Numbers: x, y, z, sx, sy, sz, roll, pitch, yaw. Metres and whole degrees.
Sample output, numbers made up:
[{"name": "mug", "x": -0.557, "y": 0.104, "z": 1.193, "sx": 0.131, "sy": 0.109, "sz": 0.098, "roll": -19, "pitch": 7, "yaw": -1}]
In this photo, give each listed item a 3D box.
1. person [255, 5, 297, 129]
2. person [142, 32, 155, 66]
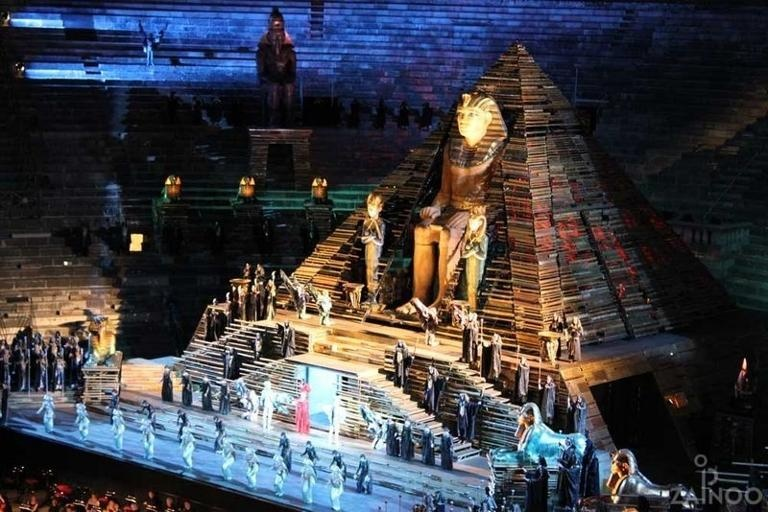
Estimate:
[{"name": "person", "x": -2.376, "y": -4.182, "z": 17.279, "sx": 0.886, "sy": 2.660, "sz": 0.525, "roll": 3, "pitch": -3, "yaw": -10}, {"name": "person", "x": -5.577, "y": -4.898, "z": 18.527, "sx": 0.259, "sy": 0.808, "sz": 0.301, "roll": 0, "pitch": 2, "yaw": -8}]
